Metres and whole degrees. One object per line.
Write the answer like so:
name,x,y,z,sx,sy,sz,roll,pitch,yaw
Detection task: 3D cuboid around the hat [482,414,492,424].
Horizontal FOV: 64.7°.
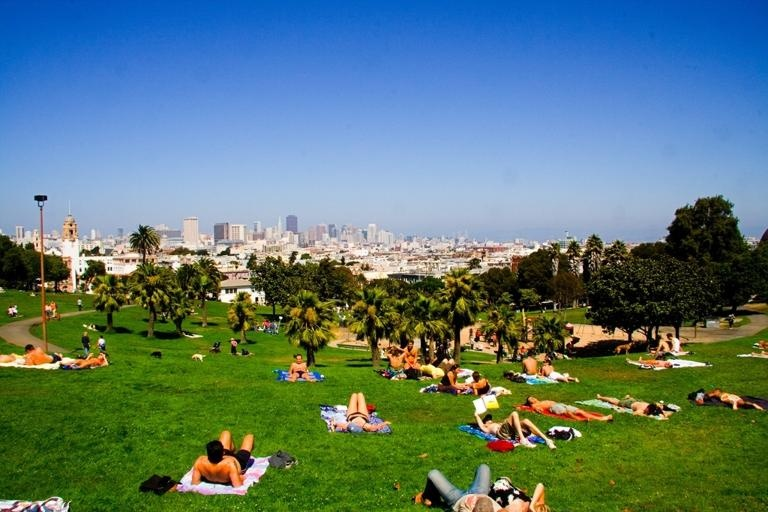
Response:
hat,4.892,7.645,28.606,0.310,0.474,0.341,-4,-6,21
